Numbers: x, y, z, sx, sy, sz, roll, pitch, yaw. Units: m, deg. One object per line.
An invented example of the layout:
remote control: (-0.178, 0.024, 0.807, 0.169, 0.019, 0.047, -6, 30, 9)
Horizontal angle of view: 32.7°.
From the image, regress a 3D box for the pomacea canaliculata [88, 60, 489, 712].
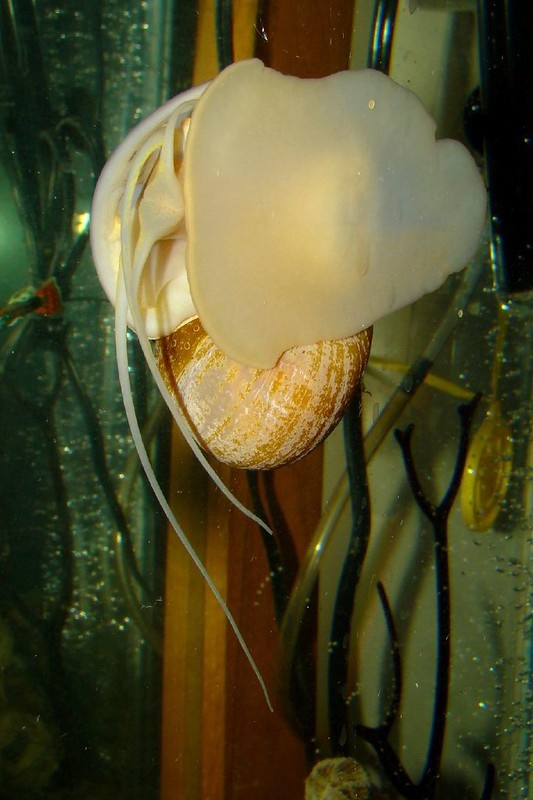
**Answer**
pomacea canaliculata: (0.033, -0.053, 0.735, 0.321, 0.430, 0.192, -12, -8, -4)
